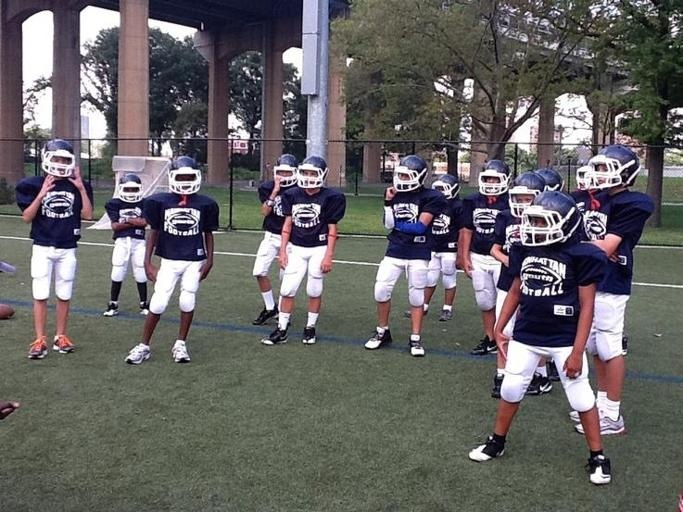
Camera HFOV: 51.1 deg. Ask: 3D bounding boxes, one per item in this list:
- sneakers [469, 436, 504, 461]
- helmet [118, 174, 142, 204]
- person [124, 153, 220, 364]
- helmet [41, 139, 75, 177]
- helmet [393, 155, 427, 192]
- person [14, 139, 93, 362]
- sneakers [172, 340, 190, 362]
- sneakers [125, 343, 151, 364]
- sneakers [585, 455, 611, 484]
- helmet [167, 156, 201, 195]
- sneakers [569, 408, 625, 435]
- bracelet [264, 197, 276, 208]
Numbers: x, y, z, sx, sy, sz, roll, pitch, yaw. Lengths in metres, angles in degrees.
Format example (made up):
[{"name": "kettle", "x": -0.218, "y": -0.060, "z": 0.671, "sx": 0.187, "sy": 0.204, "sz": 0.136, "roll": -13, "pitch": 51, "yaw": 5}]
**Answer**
[{"name": "sneakers", "x": 1.360, "y": 1.772, "z": 6.639, "sx": 0.416, "sy": 0.268, "sz": 0.161, "roll": 1, "pitch": 1, "yaw": -6}, {"name": "helmet", "x": -3.265, "y": -1.042, "z": 11.152, "sx": 0.356, "sy": 0.381, "sz": 0.478, "roll": -1, "pitch": 7, "yaw": -21}, {"name": "person", "x": -2.058, "y": 0.008, "z": 8.881, "sx": 1.039, "sy": 2.466, "sz": 1.102, "roll": -1, "pitch": 14, "yaw": -10}, {"name": "helmet", "x": -3.506, "y": -1.199, "z": 8.847, "sx": 0.354, "sy": 0.468, "sz": 0.429, "roll": -3, "pitch": 14, "yaw": -17}, {"name": "helmet", "x": 0.914, "y": -1.080, "z": 9.262, "sx": 0.492, "sy": 0.386, "sz": 0.367, "roll": -7, "pitch": 19, "yaw": -31}, {"name": "person", "x": -3.566, "y": -0.111, "z": 8.809, "sx": 0.658, "sy": 2.571, "sz": 1.111, "roll": 5, "pitch": 14, "yaw": 17}, {"name": "sneakers", "x": -1.970, "y": 1.177, "z": 8.760, "sx": 0.149, "sy": 0.154, "sz": 0.342, "roll": 0, "pitch": -2, "yaw": -23}, {"name": "sneakers", "x": -2.457, "y": 1.189, "z": 8.690, "sx": 0.159, "sy": 0.168, "sz": 0.354, "roll": 2, "pitch": -4, "yaw": 15}, {"name": "sneakers", "x": 2.282, "y": 1.883, "z": 6.298, "sx": 0.150, "sy": 0.121, "sz": 0.295, "roll": -8, "pitch": -4, "yaw": 17}, {"name": "helmet", "x": -1.889, "y": -0.957, "z": 8.631, "sx": 0.361, "sy": 0.459, "sz": 0.322, "roll": -2, "pitch": 14, "yaw": -15}, {"name": "sneakers", "x": 2.546, "y": 1.691, "z": 7.214, "sx": 0.677, "sy": 0.294, "sz": 0.247, "roll": 1, "pitch": 3, "yaw": 2}, {"name": "bracelet", "x": -1.077, "y": -0.799, "z": 10.868, "sx": 0.151, "sy": 0.105, "sz": 0.140, "roll": 2, "pitch": 4, "yaw": -32}]
